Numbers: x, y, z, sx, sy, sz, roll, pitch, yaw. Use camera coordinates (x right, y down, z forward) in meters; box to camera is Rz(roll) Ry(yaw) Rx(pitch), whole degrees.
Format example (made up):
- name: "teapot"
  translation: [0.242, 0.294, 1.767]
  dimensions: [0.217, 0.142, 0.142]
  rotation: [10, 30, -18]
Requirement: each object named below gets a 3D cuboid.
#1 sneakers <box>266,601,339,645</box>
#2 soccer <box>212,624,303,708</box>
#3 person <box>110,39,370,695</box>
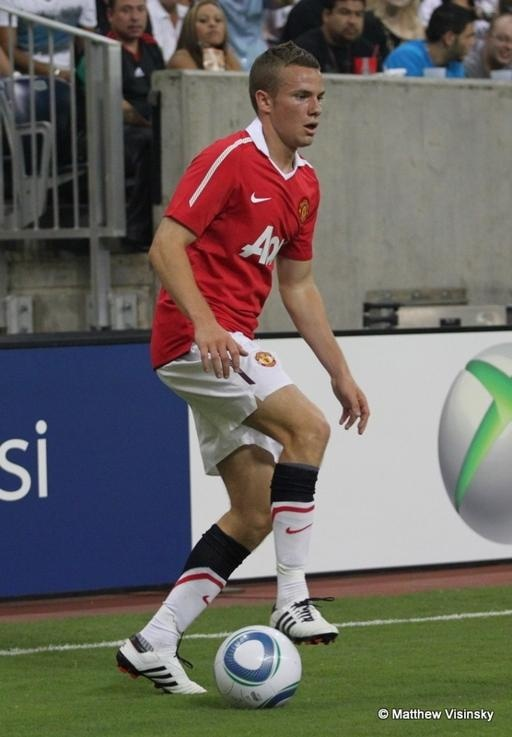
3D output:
- name: "sneakers"
  translation: [0.156, 0.816, 6.125]
  dimensions: [0.115, 0.115, 0.203]
  rotation: [-1, -3, -37]
- name: "soccer"
  translation: [-0.007, 0.920, 6.011]
  dimensions: [0.239, 0.263, 0.230]
  rotation: [12, 1, -22]
- name: "person"
  translation: [-0.016, -0.009, 6.251]
  dimensions: [0.755, 2.091, 0.673]
  rotation: [3, 7, 3]
